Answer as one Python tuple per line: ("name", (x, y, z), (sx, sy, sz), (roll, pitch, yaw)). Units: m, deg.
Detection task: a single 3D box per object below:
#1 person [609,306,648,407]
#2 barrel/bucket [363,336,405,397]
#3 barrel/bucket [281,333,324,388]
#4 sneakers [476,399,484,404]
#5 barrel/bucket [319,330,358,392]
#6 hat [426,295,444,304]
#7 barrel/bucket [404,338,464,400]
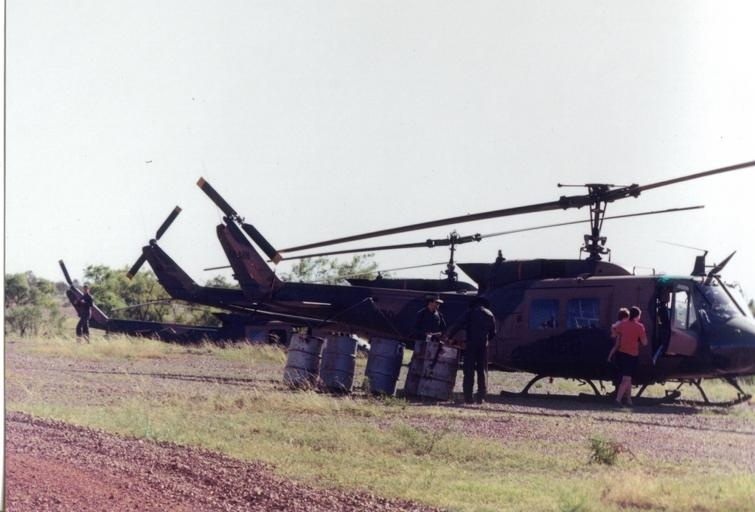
("person", (5.395, 2.174, 14.101), (0.660, 2.214, 0.842), (4, 9, 25))
("barrel/bucket", (0.152, 2.395, 14.887), (0.962, 1.158, 1.001), (10, 2, 0))
("barrel/bucket", (-1.687, 2.488, 15.251), (0.790, 1.211, 0.824), (7, -22, 3))
("sneakers", (2.248, 3.140, 14.299), (0.115, 0.089, 0.118), (1, -3, 1))
("barrel/bucket", (-0.874, 2.460, 14.908), (0.769, 1.183, 0.819), (5, -21, 2))
("hat", (1.385, 0.996, 15.211), (0.404, 0.127, 0.269), (6, -3, -21))
("barrel/bucket", (1.392, 2.520, 14.749), (1.292, 1.422, 1.024), (5, -5, 9))
